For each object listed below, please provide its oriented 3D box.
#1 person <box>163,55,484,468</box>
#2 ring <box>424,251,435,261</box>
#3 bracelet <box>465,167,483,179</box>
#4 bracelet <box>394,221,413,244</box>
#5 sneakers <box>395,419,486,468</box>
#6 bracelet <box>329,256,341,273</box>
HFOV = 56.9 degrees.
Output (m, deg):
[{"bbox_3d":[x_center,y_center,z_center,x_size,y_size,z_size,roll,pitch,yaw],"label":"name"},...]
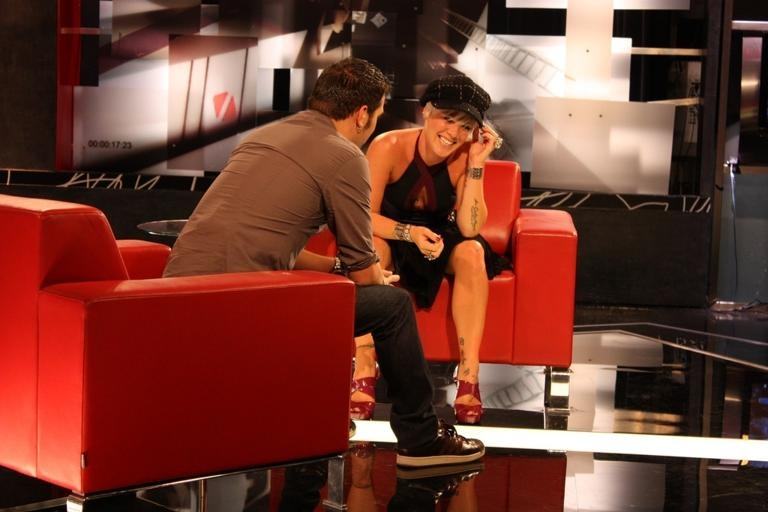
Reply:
[{"bbox_3d":[-0.217,0.027,2.875,1.221,1.566,0.916,0,11,-17],"label":"person"},{"bbox_3d":[0.205,-0.005,3.165,0.037,0.014,0.038,14,-6,1],"label":"ring"},{"bbox_3d":[0.434,-0.383,3.282,0.057,0.041,0.058,2,6,-6],"label":"bracelet"},{"bbox_3d":[0.083,-0.100,3.199,0.078,0.080,0.034,7,7,31],"label":"bracelet"},{"bbox_3d":[0.242,0.759,2.893,0.396,0.188,0.147,-2,3,-16],"label":"sneakers"},{"bbox_3d":[-0.186,0.031,2.789,0.051,0.067,0.066,0,7,-2],"label":"bracelet"}]
